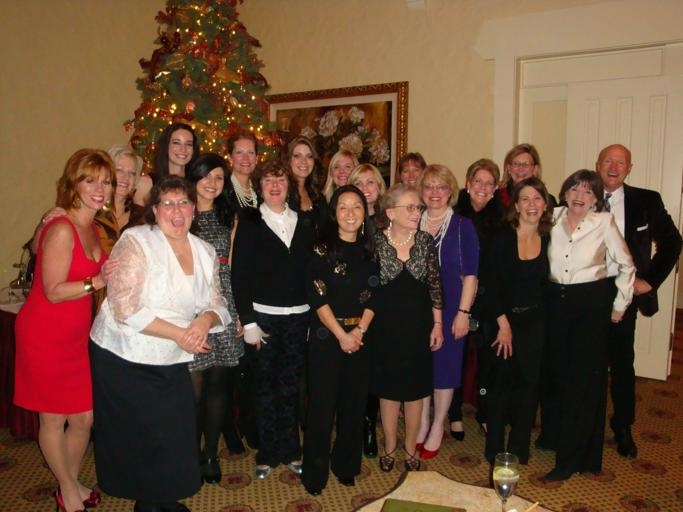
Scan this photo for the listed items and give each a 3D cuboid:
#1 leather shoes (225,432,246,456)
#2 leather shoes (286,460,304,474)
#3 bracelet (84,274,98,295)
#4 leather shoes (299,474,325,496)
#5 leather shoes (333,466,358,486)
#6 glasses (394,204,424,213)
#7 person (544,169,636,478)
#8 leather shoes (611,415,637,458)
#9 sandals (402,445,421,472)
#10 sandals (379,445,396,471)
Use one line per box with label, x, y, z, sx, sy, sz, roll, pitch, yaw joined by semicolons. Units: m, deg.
leather shoes;-0.826;1.468;4.339;0.122;0.168;0.093;-21;10;45
leather shoes;-0.348;1.555;4.134;0.169;0.093;0.057;5;6;41
bracelet;-1.537;0.185;3.470;0.051;0.094;0.078;-9;15;-15
leather shoes;-0.199;1.594;3.876;0.125;0.113;0.160;2;-26;-3
leather shoes;0.025;1.563;4.000;0.188;0.139;0.130;1;5;-3
glasses;0.463;-0.330;3.906;0.170;0.043;0.056;0;5;-14
person;1.766;0.499;4.091;0.568;2.224;0.295;1;5;-4
leather shoes;2.182;1.439;4.387;0.119;0.350;0.146;-9;-27;7
sandals;0.533;1.490;4.150;0.142;0.169;0.119;0;5;-10
sandals;0.341;1.490;4.195;0.114;0.177;0.205;1;5;5
